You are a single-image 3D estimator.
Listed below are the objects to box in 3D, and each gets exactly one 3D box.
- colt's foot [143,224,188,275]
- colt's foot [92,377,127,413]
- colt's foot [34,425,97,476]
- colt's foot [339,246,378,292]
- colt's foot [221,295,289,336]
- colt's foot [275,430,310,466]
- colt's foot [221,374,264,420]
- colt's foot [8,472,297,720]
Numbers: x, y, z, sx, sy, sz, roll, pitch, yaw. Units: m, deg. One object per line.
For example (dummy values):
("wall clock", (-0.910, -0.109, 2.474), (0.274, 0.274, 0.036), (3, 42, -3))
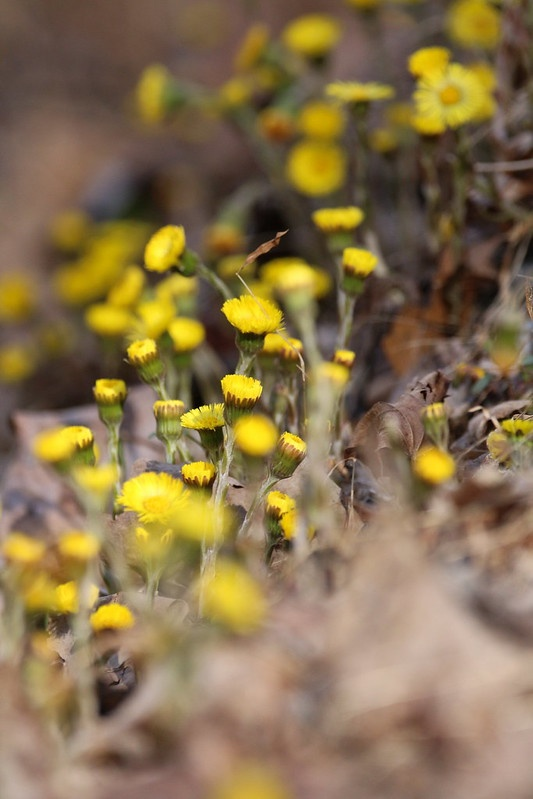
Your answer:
("colt's foot", (-0.069, -0.109, 0.669), (0.036, 0.033, 0.014), (-34, 61, -24))
("colt's foot", (-0.114, -0.004, 0.660), (0.024, 0.024, 0.018), (3, 96, 35))
("colt's foot", (-0.130, 0.033, 0.590), (0.036, 0.029, 0.029), (-15, 83, 0))
("colt's foot", (0.065, -0.091, 0.660), (0.023, 0.033, 0.027), (12, 84, 3))
("colt's foot", (-0.009, -0.052, 0.556), (0.028, 0.033, 0.030), (-33, 84, -2))
("colt's foot", (0.014, 0.030, 0.539), (0.016, 0.021, 0.019), (-16, 52, 40))
("colt's foot", (-0.016, -0.001, 0.522), (0.028, 0.027, 0.026), (8, 96, 23))
("colt's foot", (-0.077, 0.103, 0.527), (0.139, 0.138, 0.093), (-30, 99, -9))
